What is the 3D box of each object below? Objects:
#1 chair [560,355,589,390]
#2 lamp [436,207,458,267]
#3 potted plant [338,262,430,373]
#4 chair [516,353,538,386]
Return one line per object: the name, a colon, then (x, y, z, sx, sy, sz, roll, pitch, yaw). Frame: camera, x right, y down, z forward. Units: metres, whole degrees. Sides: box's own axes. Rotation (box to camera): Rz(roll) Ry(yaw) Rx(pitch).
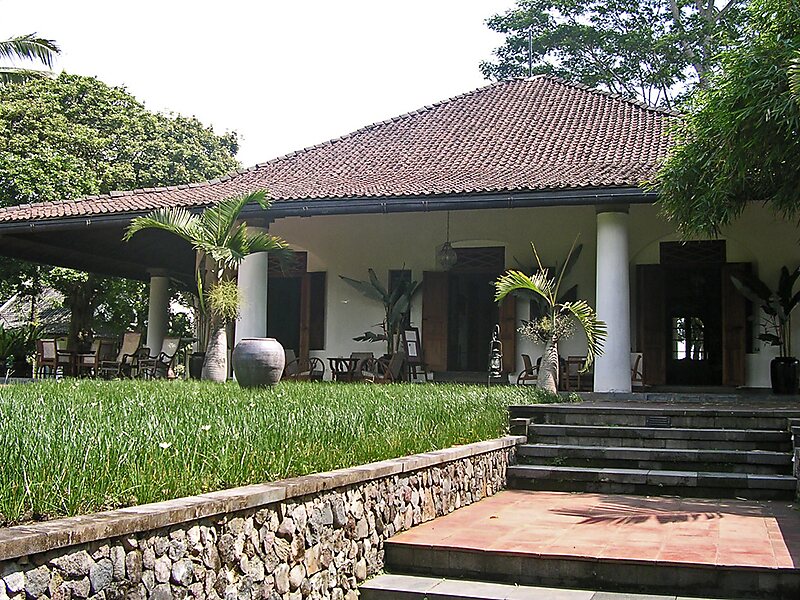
chair: (3.463, 1.459, 13.008, 0.554, 0.686, 1.783, 2, 4, 16)
lamp: (1.040, -1.313, 14.609, 0.468, 1.306, 1.043, 1, 4, 4)
potted plant: (-0.281, 0.744, 14.966, 2.091, 2.451, 2.043, -13, 22, -31)
chair: (2.700, 1.464, 13.960, 0.384, 0.714, 0.980, 1, 4, 8)
